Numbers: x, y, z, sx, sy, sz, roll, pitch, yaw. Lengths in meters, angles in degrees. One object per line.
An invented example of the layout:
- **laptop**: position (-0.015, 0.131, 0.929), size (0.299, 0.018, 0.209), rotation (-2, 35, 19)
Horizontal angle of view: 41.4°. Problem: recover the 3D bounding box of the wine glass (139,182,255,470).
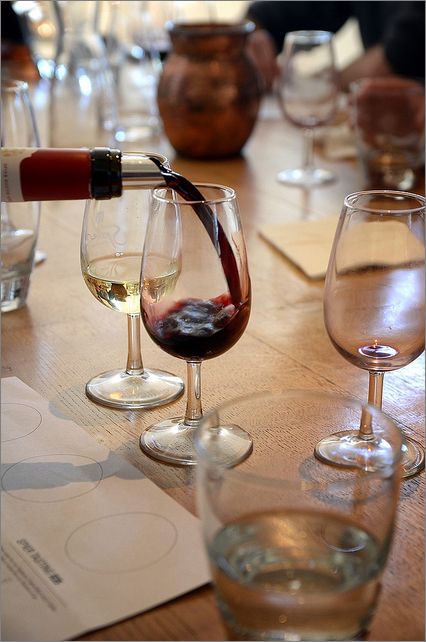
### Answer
- **wine glass**: position (-0.015, -0.003, 0.498), size (0.093, 0.231, 0.118), rotation (4, 14, 9)
